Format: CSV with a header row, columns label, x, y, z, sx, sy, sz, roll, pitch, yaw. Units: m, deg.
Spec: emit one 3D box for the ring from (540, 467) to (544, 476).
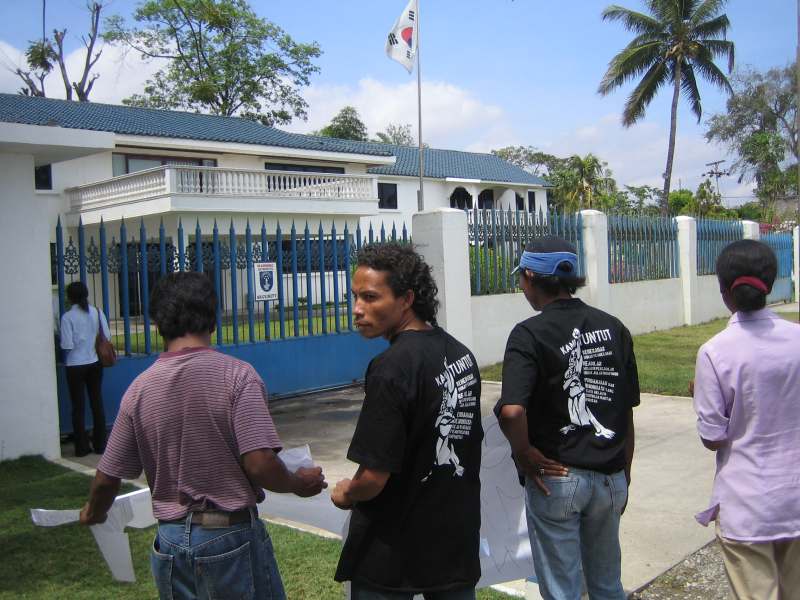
label,x,y,z,sx,sy,sz,roll,pitch,yaw
ring,0.788,0.939,3.956,0.027,0.044,0.013,-5,-15,15
